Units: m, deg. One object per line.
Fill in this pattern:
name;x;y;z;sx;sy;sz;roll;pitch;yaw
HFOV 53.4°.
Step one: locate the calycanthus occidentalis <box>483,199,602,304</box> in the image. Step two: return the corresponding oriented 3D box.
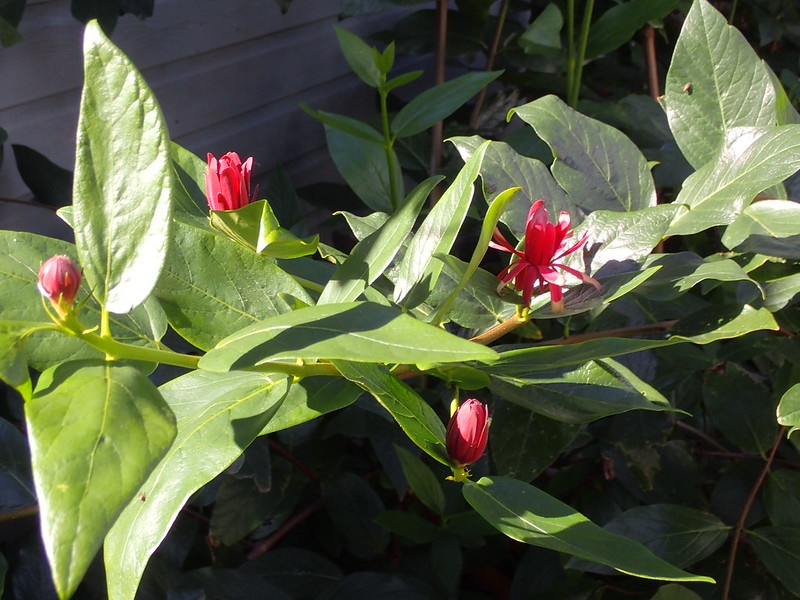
calycanthus occidentalis;0.158;-0.060;0.904;0.106;0.092;0.112;6;16;-13
